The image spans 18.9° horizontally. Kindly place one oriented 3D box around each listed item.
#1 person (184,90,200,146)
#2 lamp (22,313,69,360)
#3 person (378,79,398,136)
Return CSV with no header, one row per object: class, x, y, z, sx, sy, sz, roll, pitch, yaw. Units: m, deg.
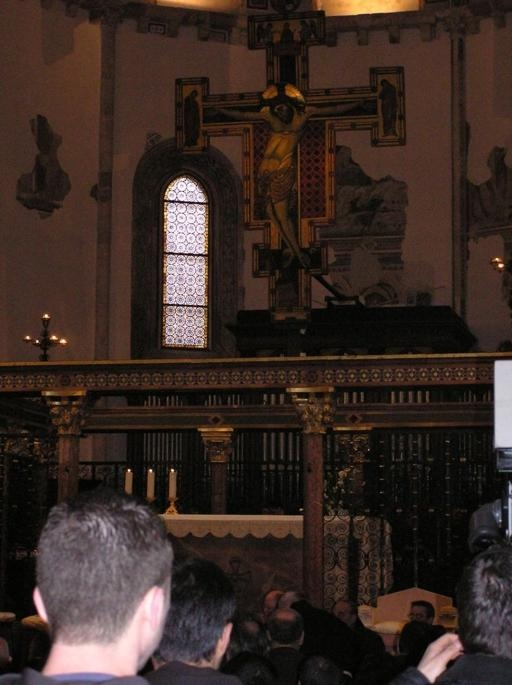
person,-0.877,-2.993,20.673,0.214,0.753,0.151,-2,-10,1
lamp,-3.198,-0.031,23.160,0.621,0.611,0.605,4,3,36
person,1.730,-3.071,20.290,0.280,1.015,0.093,4,-29,-6
